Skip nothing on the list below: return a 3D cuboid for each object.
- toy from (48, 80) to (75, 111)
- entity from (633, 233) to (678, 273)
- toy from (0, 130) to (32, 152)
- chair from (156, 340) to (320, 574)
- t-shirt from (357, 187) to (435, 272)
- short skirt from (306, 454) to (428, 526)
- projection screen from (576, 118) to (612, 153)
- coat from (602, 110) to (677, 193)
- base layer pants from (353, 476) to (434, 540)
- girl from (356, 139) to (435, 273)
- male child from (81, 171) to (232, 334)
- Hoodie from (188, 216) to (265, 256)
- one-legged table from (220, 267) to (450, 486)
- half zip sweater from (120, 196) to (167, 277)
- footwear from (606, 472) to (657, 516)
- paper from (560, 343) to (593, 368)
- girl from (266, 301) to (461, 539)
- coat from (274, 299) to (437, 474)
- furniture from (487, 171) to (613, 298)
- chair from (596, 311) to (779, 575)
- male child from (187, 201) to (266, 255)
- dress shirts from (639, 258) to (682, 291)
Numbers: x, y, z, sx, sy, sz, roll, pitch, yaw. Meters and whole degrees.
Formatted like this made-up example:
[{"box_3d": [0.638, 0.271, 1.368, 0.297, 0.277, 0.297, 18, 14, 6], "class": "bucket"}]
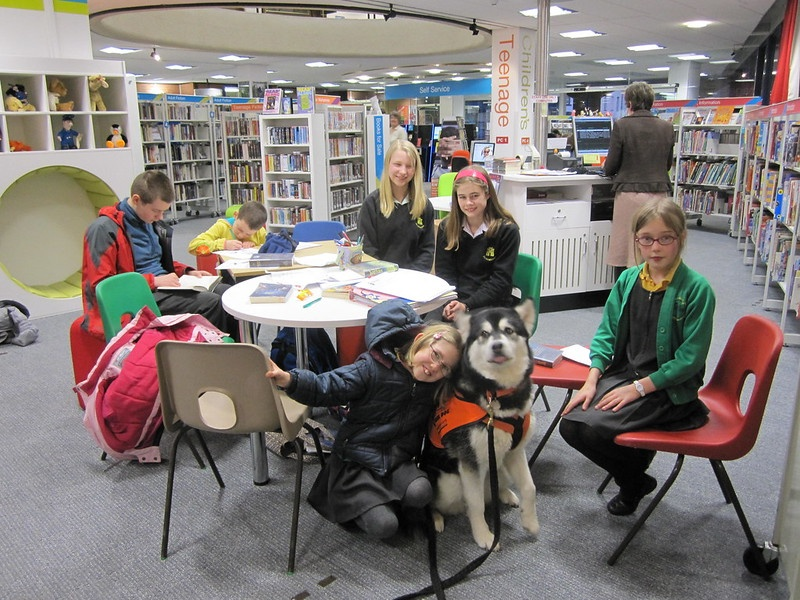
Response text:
[{"box_3d": [-3.413, -2.068, 5.867, 0.218, 0.329, 0.499, -10, 19, -26], "class": "toy"}, {"box_3d": [1.180, -0.233, 2.732, 0.137, 0.178, 0.179, -3, 4, 12], "class": "entity"}, {"box_3d": [-3.651, -1.511, 5.542, 0.239, 0.184, 0.485, -10, 19, -26], "class": "toy"}, {"box_3d": [-0.799, 0.793, 2.853, 0.665, 1.072, 0.777, 4, 32, 1], "class": "chair"}, {"box_3d": [0.006, -0.520, 4.249, 0.573, 0.725, 0.346, 7, 55, 1], "class": "t-shirt"}, {"box_3d": [-0.199, 0.859, 2.789, 0.446, 0.145, 0.359, 7, 10, 43], "class": "short skirt"}, {"box_3d": [2.173, -1.832, 6.498, 0.554, 0.414, 0.058, -5, 6, -15], "class": "projection screen"}, {"box_3d": [2.261, -1.300, 5.531, 0.597, 0.815, 0.575, -2, 8, -1], "class": "coat"}, {"box_3d": [0.000, 0.959, 2.704, 0.332, 0.131, 0.330, -28, -16, 17], "class": "base layer pants"}, {"box_3d": [0.023, -0.624, 4.159, 0.555, 0.940, 0.530, -4, 16, -22], "class": "girl"}, {"box_3d": [-1.625, -0.185, 4.188, 1.099, 1.365, 0.744, 2, 18, 6], "class": "male child"}, {"box_3d": [-1.576, -0.551, 5.006, 0.430, 0.176, 0.574, -7, 8, -3], "class": "Hoodie"}, {"box_3d": [-0.407, 0.129, 3.125, 1.198, 0.896, 1.190, -4, 21, -15], "class": "one-legged table"}, {"box_3d": [-1.804, -0.435, 4.124, 0.174, 0.498, 0.371, -14, 0, 41], "class": "half zip sweater"}, {"box_3d": [1.154, 0.965, 2.898, 0.232, 0.106, 0.085, -41, 30, 7], "class": "footwear"}, {"box_3d": [0.984, 0.300, 3.249, 0.115, 0.029, 0.119, 16, 19, 26], "class": "paper"}, {"box_3d": [-0.159, 0.607, 2.840, 1.068, 0.894, 0.578, 2, 9, -42], "class": "girl"}, {"box_3d": [-0.161, 0.394, 3.028, 1.138, 0.790, 0.658, -2, 9, -29], "class": "coat"}, {"box_3d": [1.290, -0.582, 5.009, 1.129, 1.046, 0.662, -4, 20, -8], "class": "furniture"}, {"box_3d": [1.420, 0.640, 2.623, 0.807, 1.090, 0.627, -18, 24, -42], "class": "chair"}, {"box_3d": [-1.477, -0.585, 5.123, 0.863, 0.401, 0.675, 7, 5, 42], "class": "male child"}, {"box_3d": [1.264, -0.109, 2.831, 0.163, 0.109, 0.118, 21, 9, -47], "class": "dress shirts"}]
